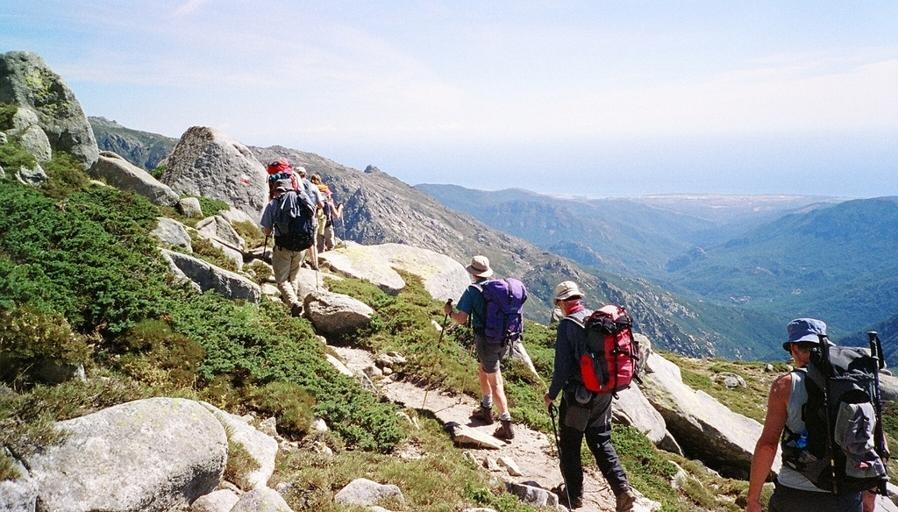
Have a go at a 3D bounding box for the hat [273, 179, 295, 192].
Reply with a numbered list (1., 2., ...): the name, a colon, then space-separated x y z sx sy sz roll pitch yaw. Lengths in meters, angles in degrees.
1. hat: -6.564 -2.858 22.050 0.689 0.496 0.475 -2 9 -24

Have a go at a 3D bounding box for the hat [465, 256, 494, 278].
1. hat: 1.222 0.340 19.667 0.767 0.812 1.380 8 10 37
